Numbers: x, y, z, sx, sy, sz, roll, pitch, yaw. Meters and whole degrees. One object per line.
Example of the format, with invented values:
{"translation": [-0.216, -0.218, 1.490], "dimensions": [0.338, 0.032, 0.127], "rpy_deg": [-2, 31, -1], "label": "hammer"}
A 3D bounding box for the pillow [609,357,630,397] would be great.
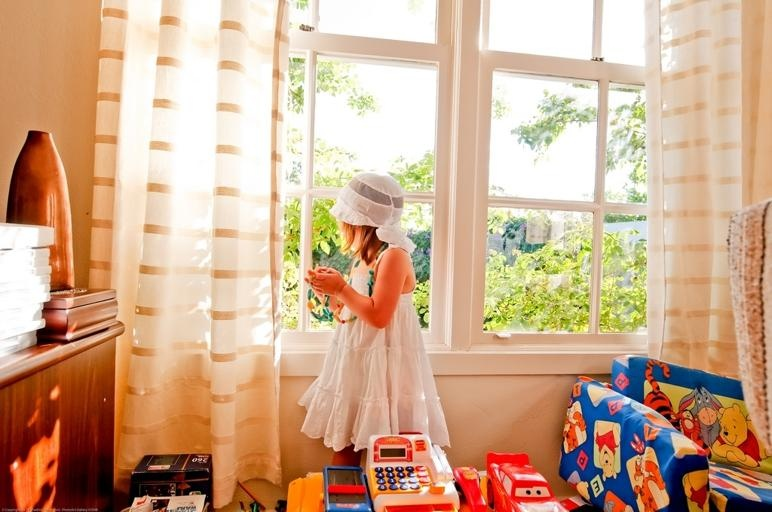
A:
{"translation": [0.944, 0.487, 2.270], "dimensions": [0.094, 0.142, 0.094], "rpy_deg": [1, 5, 8], "label": "pillow"}

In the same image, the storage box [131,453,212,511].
{"translation": [-0.747, 0.751, 2.022], "dimensions": [0.282, 0.185, 0.202], "rpy_deg": [3, 35, -6], "label": "storage box"}

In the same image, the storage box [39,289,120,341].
{"translation": [-0.907, 0.161, 1.670], "dimensions": [0.140, 0.093, 0.197], "rpy_deg": [4, 7, 18], "label": "storage box"}

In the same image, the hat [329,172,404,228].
{"translation": [-0.063, -0.229, 2.059], "dimensions": [0.208, 0.130, 0.213], "rpy_deg": [8, 14, 21], "label": "hat"}
